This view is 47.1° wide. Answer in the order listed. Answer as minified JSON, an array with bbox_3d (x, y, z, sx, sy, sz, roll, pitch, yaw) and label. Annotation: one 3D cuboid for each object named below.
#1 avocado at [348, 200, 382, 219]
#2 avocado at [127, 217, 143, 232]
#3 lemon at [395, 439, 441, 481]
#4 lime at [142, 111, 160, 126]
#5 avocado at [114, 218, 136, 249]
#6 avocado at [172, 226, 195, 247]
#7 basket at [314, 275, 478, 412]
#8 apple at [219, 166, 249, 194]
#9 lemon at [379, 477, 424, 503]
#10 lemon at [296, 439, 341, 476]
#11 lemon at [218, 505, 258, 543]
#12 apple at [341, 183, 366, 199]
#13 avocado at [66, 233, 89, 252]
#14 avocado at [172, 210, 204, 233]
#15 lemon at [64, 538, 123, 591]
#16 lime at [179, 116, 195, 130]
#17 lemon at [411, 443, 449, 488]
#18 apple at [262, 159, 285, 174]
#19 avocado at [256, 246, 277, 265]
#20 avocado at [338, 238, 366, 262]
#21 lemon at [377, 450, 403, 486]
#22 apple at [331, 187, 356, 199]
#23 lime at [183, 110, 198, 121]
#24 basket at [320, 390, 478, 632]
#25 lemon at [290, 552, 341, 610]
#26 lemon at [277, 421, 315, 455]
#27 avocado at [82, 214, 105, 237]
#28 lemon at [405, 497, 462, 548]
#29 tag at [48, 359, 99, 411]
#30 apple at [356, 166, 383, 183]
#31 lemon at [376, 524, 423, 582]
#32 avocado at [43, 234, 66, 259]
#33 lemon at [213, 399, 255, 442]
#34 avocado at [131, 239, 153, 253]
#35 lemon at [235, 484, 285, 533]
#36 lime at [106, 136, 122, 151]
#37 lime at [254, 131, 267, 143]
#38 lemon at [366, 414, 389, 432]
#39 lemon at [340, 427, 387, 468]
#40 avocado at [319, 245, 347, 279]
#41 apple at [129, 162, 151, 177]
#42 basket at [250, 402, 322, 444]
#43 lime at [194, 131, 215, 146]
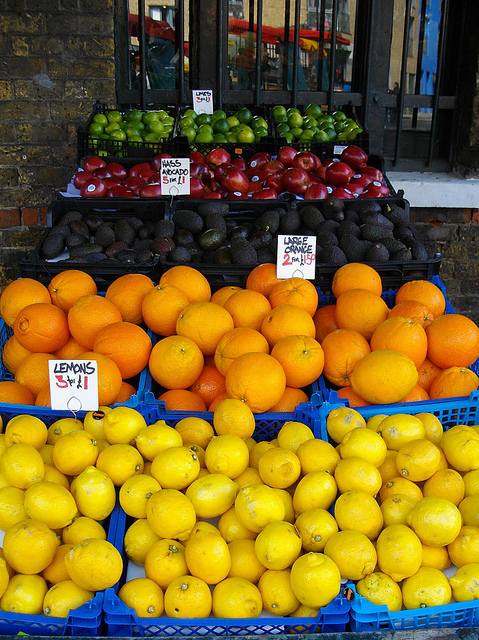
[{"bbox_3d":[0.536,-0.458,2.317,0.088,0.056,0.110,-8,2,-24],"label":"avocado"},{"bbox_3d":[-0.441,-0.407,2.303,0.066,0.035,0.061,17,19,-14],"label":"avocado"},{"bbox_3d":[0.361,0.279,1.101,0.084,0.081,0.072,11,26,10],"label":"lemon"},{"bbox_3d":[-0.551,-1.265,3.445,0.100,0.088,0.094,-15,26,-40],"label":"lime"},{"bbox_3d":[-0.464,-0.358,2.229,0.071,0.075,0.133,-17,48,-10],"label":"avocado"},{"bbox_3d":[-0.223,-0.337,2.171,0.076,0.050,0.092,-12,25,-16],"label":"avocado"},{"bbox_3d":[0.376,0.112,1.548,0.467,0.178,0.425,-4,36,2],"label":"basket"},{"bbox_3d":[-0.034,-0.693,2.713,0.158,0.125,0.168,3,19,7],"label":"apple"},{"bbox_3d":[0.316,0.327,1.068,0.059,0.062,0.054,-13,24,19],"label":"lemon"},{"bbox_3d":[0.156,0.285,1.151,0.099,0.075,0.069,10,47,-6],"label":"lemon"},{"bbox_3d":[0.002,0.372,1.023,0.070,0.070,0.062,0,4,2],"label":"lemon"},{"bbox_3d":[0.580,-0.627,2.687,0.088,0.055,0.107,1,9,4],"label":"apple"},{"bbox_3d":[-0.627,-0.311,2.176,0.096,0.066,0.071,-7,-8,-39],"label":"avocado"},{"bbox_3d":[-0.206,-0.402,2.282,0.128,0.067,0.076,31,69,26],"label":"avocado"},{"bbox_3d":[-0.233,0.381,0.901,0.103,0.075,0.084,11,3,-22],"label":"lemon"},{"bbox_3d":[-0.309,-1.222,3.408,0.097,0.086,0.104,-8,29,3],"label":"lime"},{"bbox_3d":[0.423,0.303,1.154,0.091,0.094,0.085,5,-13,7],"label":"lemon"},{"bbox_3d":[0.183,-0.817,2.923,0.096,0.102,0.082,2,58,6],"label":"apple"},{"bbox_3d":[0.088,-0.236,2.028,0.074,0.054,0.053,12,-25,27],"label":"avocado"},{"bbox_3d":[0.410,-0.249,2.036,0.075,0.097,0.056,-39,-11,-16],"label":"avocado"},{"bbox_3d":[0.311,0.305,1.139,0.062,0.064,0.058,2,-7,12],"label":"lemon"},{"bbox_3d":[0.486,-0.591,2.566,0.117,0.056,0.082,6,18,10],"label":"apple"},{"bbox_3d":[-0.312,-1.317,3.510,0.089,0.078,0.097,6,24,-11],"label":"lime"},{"bbox_3d":[0.313,0.367,1.043,0.312,0.132,0.386,-3,43,11],"label":"basket"},{"bbox_3d":[0.119,0.415,0.853,0.081,0.104,0.067,3,20,6],"label":"lemon"},{"bbox_3d":[0.122,0.250,1.186,0.054,0.046,0.064,-15,13,-20],"label":"lemon"},{"bbox_3d":[-0.609,-0.406,2.293,0.092,0.058,0.102,4,52,-4],"label":"avocado"},{"bbox_3d":[0.331,0.346,0.982,0.098,0.082,0.080,4,14,3],"label":"lemon"},{"bbox_3d":[-0.384,0.150,1.273,0.139,0.128,0.008,0,3,-3],"label":"tag"},{"bbox_3d":[0.679,-0.761,2.878,0.121,0.081,0.087,17,-21,12],"label":"apple"},{"bbox_3d":[0.260,0.376,0.900,0.073,0.085,0.067,7,-24,5],"label":"lemon"},{"bbox_3d":[-0.693,-0.283,2.089,0.069,0.051,0.094,5,40,6],"label":"avocado"},{"bbox_3d":[-0.005,0.218,1.219,0.082,0.088,0.081,-13,-10,30],"label":"lemon"},{"bbox_3d":[-0.365,-0.283,2.088,0.077,0.038,0.055,-13,34,-9],"label":"avocado"},{"bbox_3d":[0.034,0.333,0.978,0.087,0.075,0.101,0,22,-10],"label":"lemon"},{"bbox_3d":[-0.713,-1.022,3.183,0.093,0.096,0.086,-3,-6,-11],"label":"lime"},{"bbox_3d":[0.125,-1.089,3.318,0.081,0.085,0.075,-1,-13,0],"label":"lime"},{"bbox_3d":[0.316,0.226,1.232,0.037,0.034,0.043,-2,12,10],"label":"lemon"},{"bbox_3d":[0.261,0.265,1.129,0.092,0.096,0.084,-4,-14,-9],"label":"lemon"},{"bbox_3d":[0.335,-0.233,1.955,0.097,0.053,0.104,4,19,9],"label":"avocado"},{"bbox_3d":[-0.537,-0.800,2.918,0.119,0.058,0.085,-23,35,-13],"label":"apple"},{"bbox_3d":[0.111,0.263,1.392,0.163,0.084,0.207,7,-21,-8],"label":"basket"},{"bbox_3d":[-0.206,-1.075,3.294,0.099,0.102,0.091,-3,-22,2],"label":"lime"}]
